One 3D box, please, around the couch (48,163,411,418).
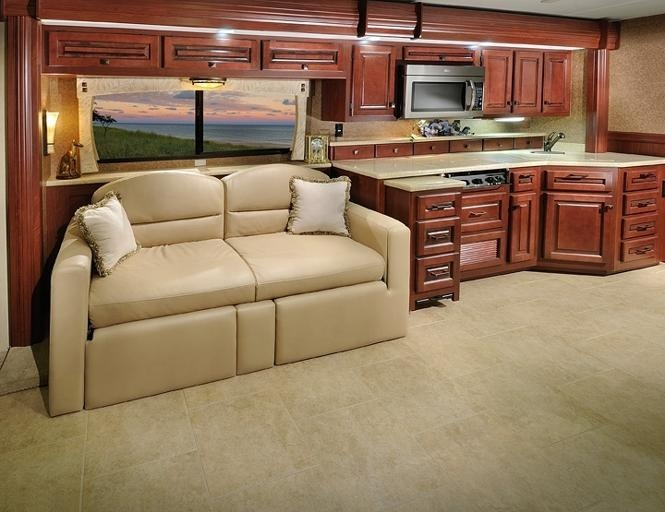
[{"bbox_3d":[-0.694,0.036,3.492,2.335,1.018,1.160,-6,28,-24],"label":"couch"}]
